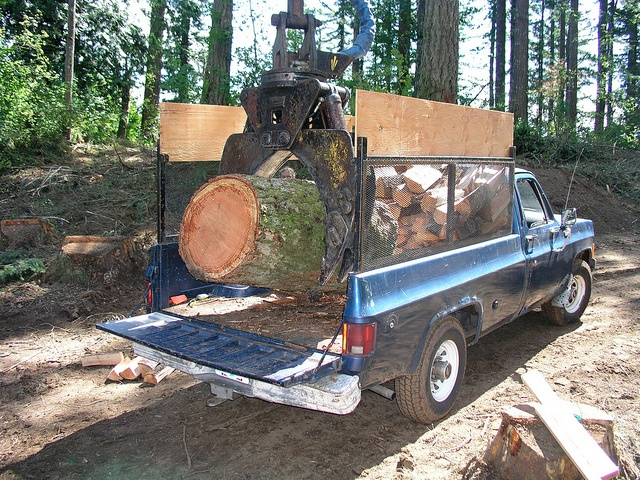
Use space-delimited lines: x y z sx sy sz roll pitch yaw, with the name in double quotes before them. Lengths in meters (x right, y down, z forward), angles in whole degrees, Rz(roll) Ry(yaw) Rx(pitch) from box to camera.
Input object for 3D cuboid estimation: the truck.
"truck" 1.032 0.190 6.618 3.712 2.740 6.895 4 10 37
